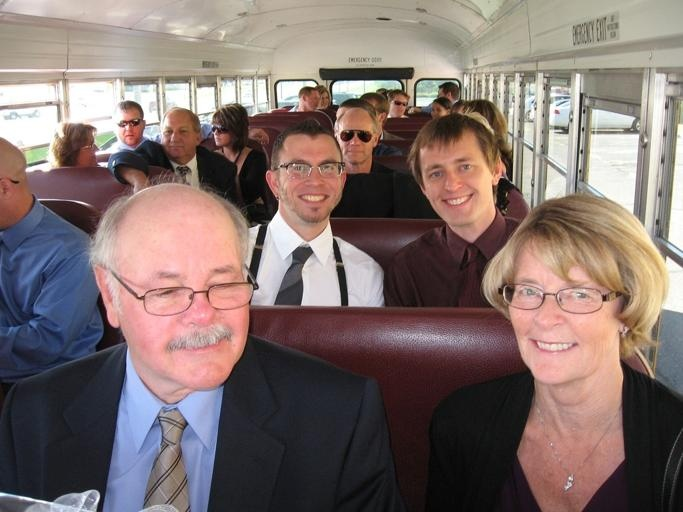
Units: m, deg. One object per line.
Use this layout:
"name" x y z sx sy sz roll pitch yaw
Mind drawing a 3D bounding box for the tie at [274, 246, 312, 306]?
"tie" -0.292 0.124 3.249 0.135 0.048 0.405 21 54 8

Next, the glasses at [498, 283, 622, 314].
"glasses" 0.723 0.137 1.830 0.393 0.091 0.115 3 14 23

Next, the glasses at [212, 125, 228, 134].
"glasses" -1.615 -1.720 7.311 0.147 0.132 0.046 4 11 20

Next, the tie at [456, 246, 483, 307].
"tie" 0.730 0.122 3.088 0.219 0.282 0.075 -2 -13 33
